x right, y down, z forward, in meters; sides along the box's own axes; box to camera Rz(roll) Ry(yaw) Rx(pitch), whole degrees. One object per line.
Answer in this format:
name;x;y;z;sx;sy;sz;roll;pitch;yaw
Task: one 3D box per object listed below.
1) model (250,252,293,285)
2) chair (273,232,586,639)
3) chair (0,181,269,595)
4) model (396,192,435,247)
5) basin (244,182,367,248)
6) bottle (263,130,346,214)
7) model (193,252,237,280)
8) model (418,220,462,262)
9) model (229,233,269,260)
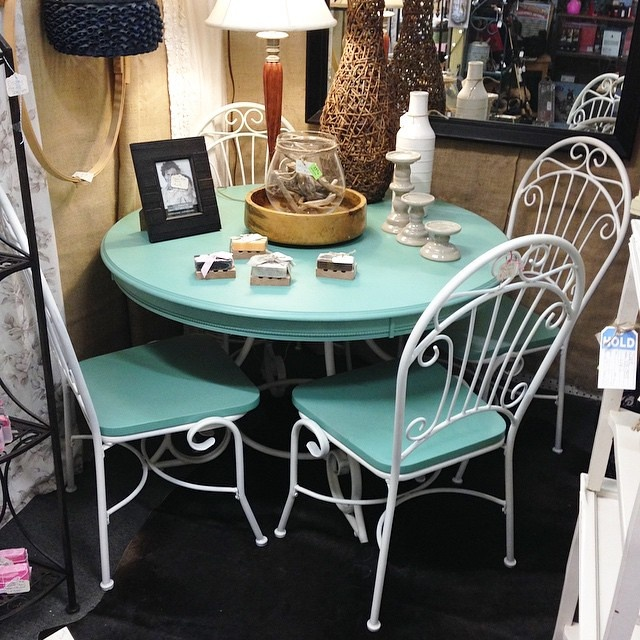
model;-0.127;-0.133;1.542;0.093;0.051;0.085;0;24;-1
chair;0.277;0.329;1.611;0.666;1.180;0.618;-17;41;-23
chair;-0.512;0.200;1.662;0.697;1.020;0.567;-14;48;-24
model;0.250;-0.309;1.867;0.159;0.156;0.146;3;28;4
basin;-0.047;-0.336;1.878;0.359;0.078;0.361;2;29;-1
bottle;-0.025;-0.424;1.779;0.248;0.187;0.233;0;26;0
model;-0.281;-0.144;1.586;0.083;0.032;0.073;-5;29;-13
model;0.324;-0.217;1.750;0.127;0.084;0.119;11;28;22
model;-0.204;-0.204;1.745;0.081;0.044;0.075;1;24;-3
